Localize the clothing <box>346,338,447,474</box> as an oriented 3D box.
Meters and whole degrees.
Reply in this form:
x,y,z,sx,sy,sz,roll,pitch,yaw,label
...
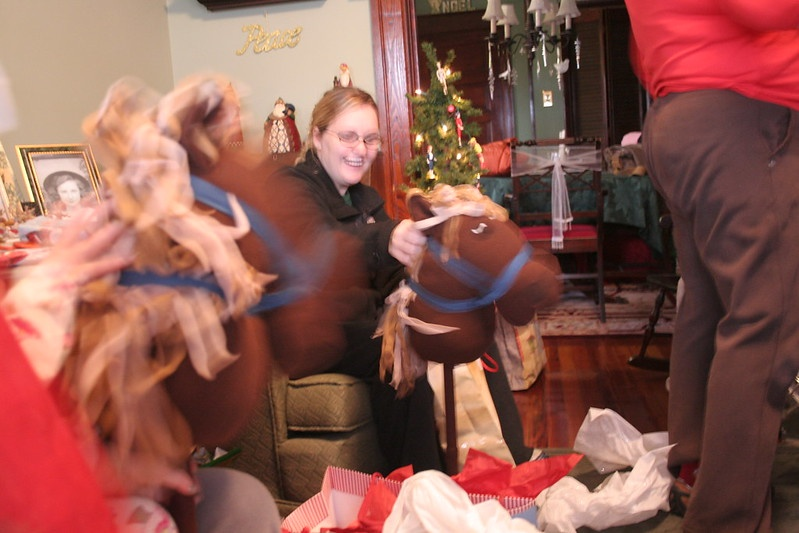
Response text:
x,y,z,sx,sy,sz,roll,pitch,yaw,label
-0.020,0.326,1.491,0.217,0.460,0.233,-9,13,-16,clothing

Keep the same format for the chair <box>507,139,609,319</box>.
x,y,z,sx,sy,sz,roll,pitch,yaw,label
1.041,-0.272,3.939,0.600,1.120,0.994,-1,13,18,chair
